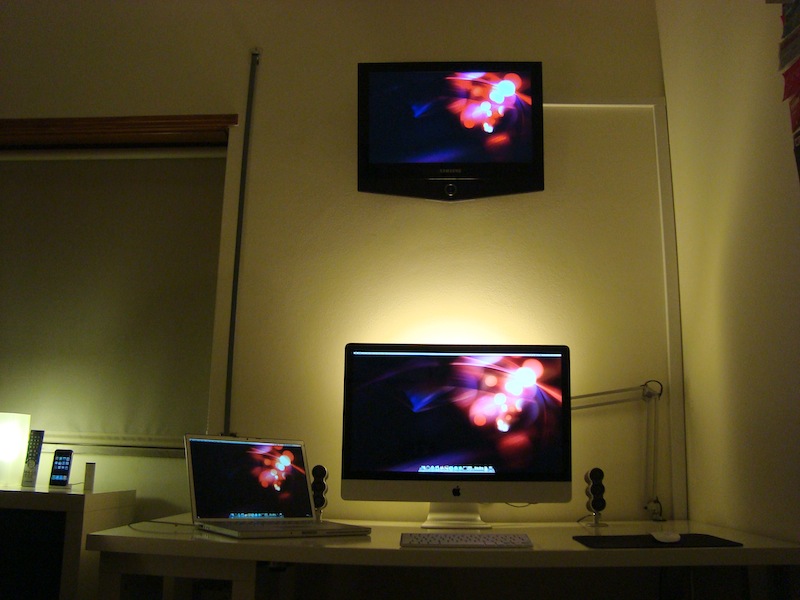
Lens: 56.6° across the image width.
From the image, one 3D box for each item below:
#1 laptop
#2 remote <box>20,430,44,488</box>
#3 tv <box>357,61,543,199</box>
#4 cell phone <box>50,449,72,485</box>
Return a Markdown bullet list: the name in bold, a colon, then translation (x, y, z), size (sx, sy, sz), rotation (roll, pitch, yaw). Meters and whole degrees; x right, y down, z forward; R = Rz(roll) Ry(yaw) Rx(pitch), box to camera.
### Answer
- **laptop**: translation (-0.509, 0.570, 2.619), size (0.455, 0.293, 0.414), rotation (10, -15, -41)
- **remote**: translation (-1.450, 0.623, 2.928), size (0.048, 0.250, 0.027), rotation (10, 10, -19)
- **tv**: translation (0.207, -0.708, 3.025), size (0.500, 0.415, 0.053), rotation (0, -5, 0)
- **cell phone**: translation (-1.351, 0.667, 2.957), size (0.071, 0.153, 0.159), rotation (8, -16, -24)
